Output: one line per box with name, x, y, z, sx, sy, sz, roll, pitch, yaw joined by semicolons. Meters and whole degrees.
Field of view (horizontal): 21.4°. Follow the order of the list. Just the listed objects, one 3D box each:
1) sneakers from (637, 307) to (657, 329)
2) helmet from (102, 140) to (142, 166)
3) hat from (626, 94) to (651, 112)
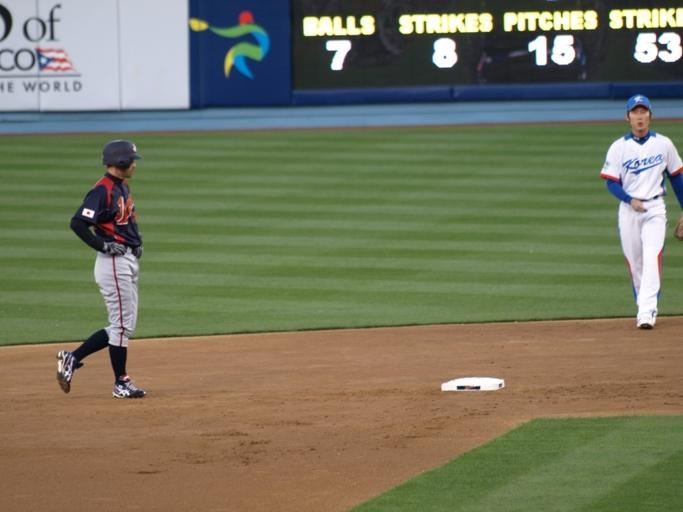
sneakers;4.300;0.900;25.405;0.259;0.138;0.432;3;9;11
helmet;-2.895;-1.340;23.915;0.427;0.253;0.317;-2;6;3
hat;4.223;-2.174;25.675;0.356;0.273;0.493;-1;-16;9
